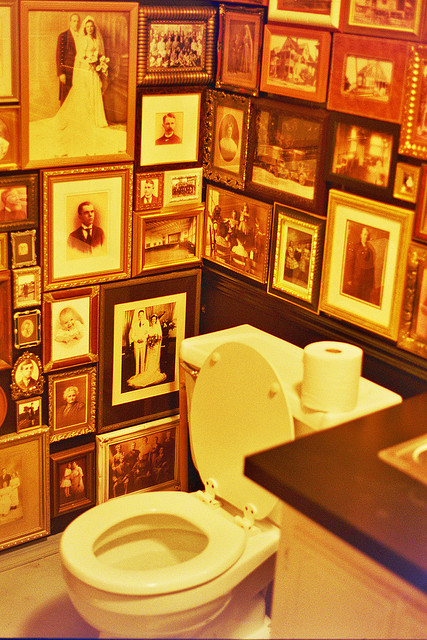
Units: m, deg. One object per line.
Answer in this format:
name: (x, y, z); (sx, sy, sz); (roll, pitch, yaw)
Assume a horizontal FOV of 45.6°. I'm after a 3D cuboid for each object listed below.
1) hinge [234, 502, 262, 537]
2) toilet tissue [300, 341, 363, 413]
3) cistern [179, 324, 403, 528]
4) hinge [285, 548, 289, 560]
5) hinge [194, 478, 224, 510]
hinge: (0.100, 0.570, 1.428); (0.035, 0.078, 0.066); (-7, 14, -37)
toilet tissue: (0.287, 0.144, 1.255); (0.145, 0.163, 0.176); (1, 6, 15)
cistern: (0.219, 0.157, 1.487); (0.494, 0.631, 0.450); (21, 34, 38)
hinge: (0.095, 0.306, 0.656); (0.003, 0.014, 0.011); (5, 10, 11)
hinge: (-0.013, 0.532, 1.566); (0.056, 0.093, 0.107); (-2, 13, -38)
